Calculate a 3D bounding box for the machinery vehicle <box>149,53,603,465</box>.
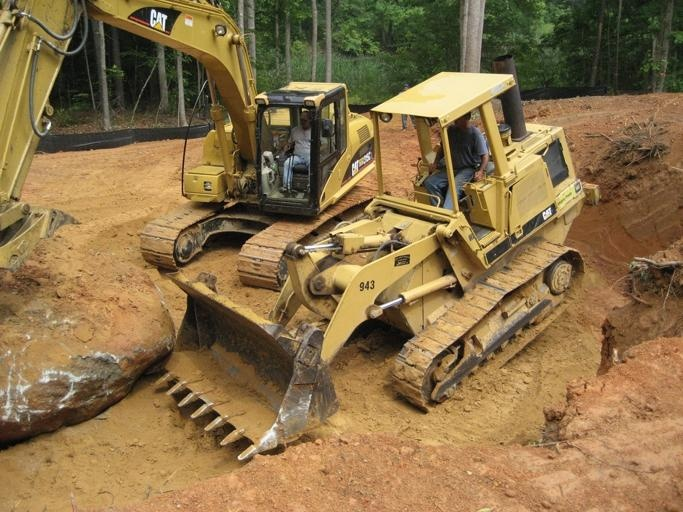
[{"bbox_3d":[0.753,-0.310,8.637,6.720,3.436,3.421,-25,30,-30],"label":"machinery vehicle"}]
